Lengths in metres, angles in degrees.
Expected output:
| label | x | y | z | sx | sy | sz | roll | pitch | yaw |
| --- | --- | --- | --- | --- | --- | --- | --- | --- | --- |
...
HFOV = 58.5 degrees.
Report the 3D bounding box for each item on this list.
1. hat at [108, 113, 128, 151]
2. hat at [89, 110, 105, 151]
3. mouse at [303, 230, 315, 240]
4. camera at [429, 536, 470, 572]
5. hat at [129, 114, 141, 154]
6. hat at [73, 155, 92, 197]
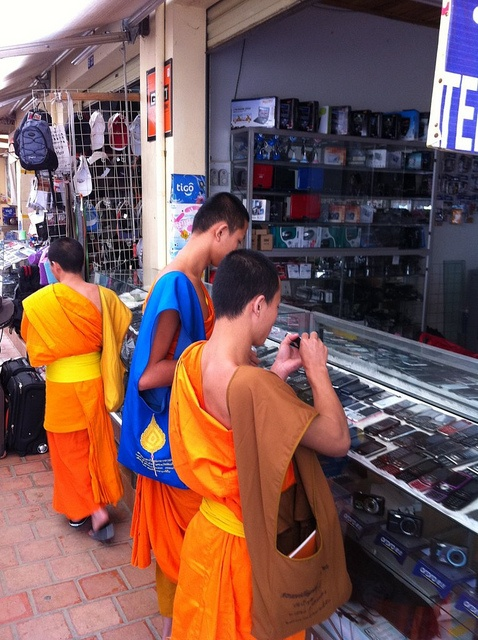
| label | x | y | z | sx | sy | sz | roll | pitch | yaw |
| --- | --- | --- | --- | --- | --- | --- | --- | --- | --- |
| hat | -1.403 | -2.126 | 4.890 | 0.254 | 0.446 | 0.145 | -6 | 13 | -41 |
| hat | -1.582 | -2.076 | 4.778 | 0.124 | 0.439 | 0.173 | -5 | 9 | -14 |
| mouse | 0.850 | -1.011 | 5.130 | 0.205 | 0.134 | 0.036 | -3 | 6 | -43 |
| camera | 0.496 | 0.547 | 1.002 | 0.071 | 0.057 | 0.018 | 11 | 18 | 43 |
| hat | -1.135 | -1.956 | 4.601 | 0.106 | 0.415 | 0.654 | 0 | 5 | -16 |
| hat | -1.760 | -1.588 | 4.826 | 0.230 | 0.578 | 0.142 | -3 | -16 | 1 |
